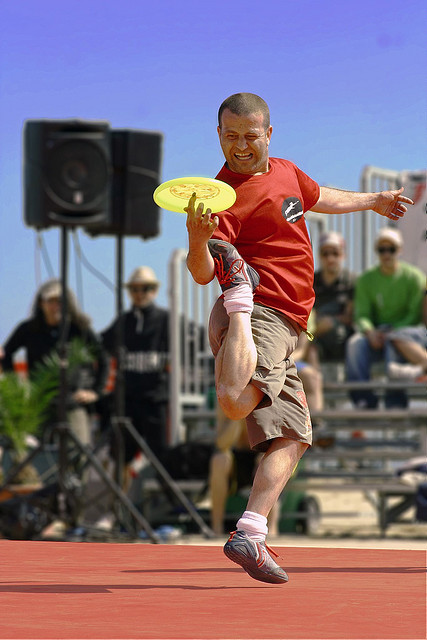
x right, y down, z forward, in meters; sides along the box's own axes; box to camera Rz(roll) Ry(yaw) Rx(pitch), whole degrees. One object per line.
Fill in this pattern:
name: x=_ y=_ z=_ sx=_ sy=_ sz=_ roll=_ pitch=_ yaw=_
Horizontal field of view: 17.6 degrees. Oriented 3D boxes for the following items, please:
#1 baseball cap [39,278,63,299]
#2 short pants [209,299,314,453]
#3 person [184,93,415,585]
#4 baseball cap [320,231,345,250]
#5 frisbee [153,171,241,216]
baseball cap: x=-0.729 y=-0.145 z=6.065 sx=0.065 sy=0.091 sz=0.138 roll=-2 pitch=1 yaw=-44
short pants: x=0.164 y=0.170 z=4.335 sx=0.351 sy=0.480 sz=0.300 roll=-1 pitch=1 yaw=-10
person: x=0.183 y=0.046 z=4.393 sx=0.813 sy=1.541 sz=0.295 roll=-2 pitch=1 yaw=-43
baseball cap: x=0.833 y=-0.567 z=9.741 sx=0.170 sy=0.125 sz=0.279 roll=-1 pitch=1 yaw=4
frisbee: x=-0.041 y=-0.382 z=4.178 sx=0.274 sy=0.124 sz=0.330 roll=-1 pitch=1 yaw=-10
